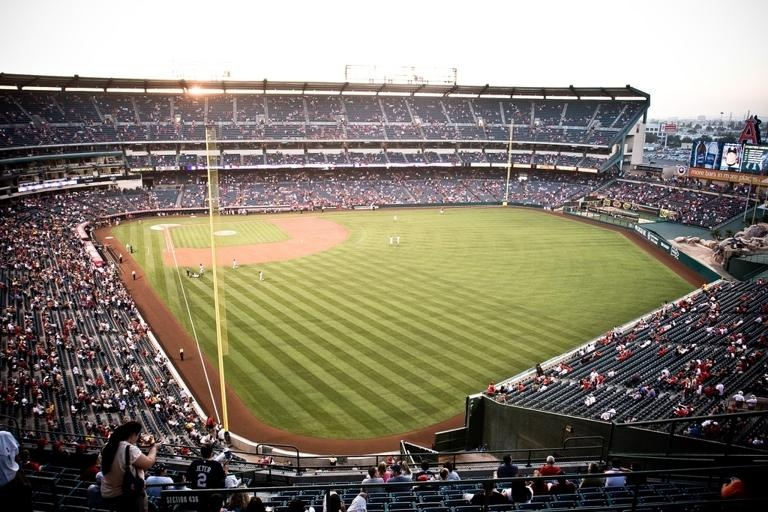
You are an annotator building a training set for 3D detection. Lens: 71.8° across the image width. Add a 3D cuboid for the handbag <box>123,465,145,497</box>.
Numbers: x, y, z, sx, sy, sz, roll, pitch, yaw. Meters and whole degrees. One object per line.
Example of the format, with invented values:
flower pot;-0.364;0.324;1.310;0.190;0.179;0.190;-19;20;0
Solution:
handbag;-5.368;4.761;11.291;0.433;0.654;0.227;-2;14;-19
